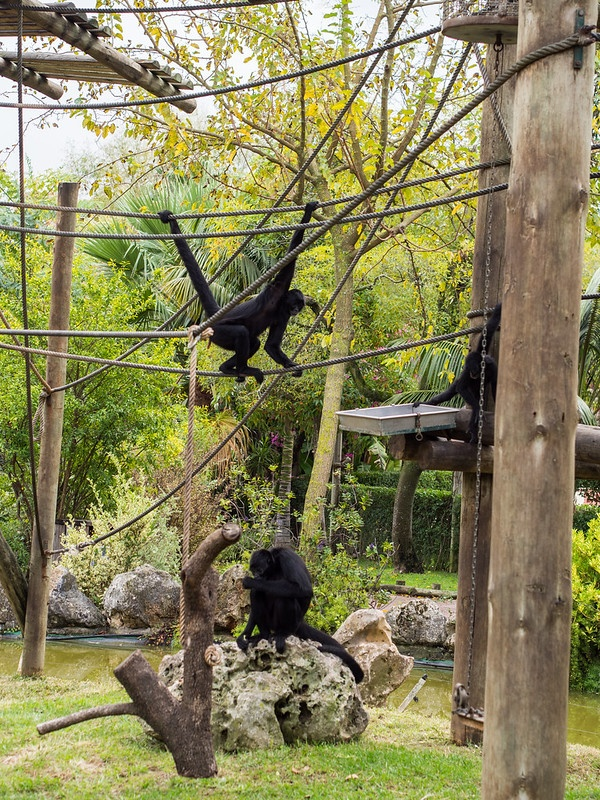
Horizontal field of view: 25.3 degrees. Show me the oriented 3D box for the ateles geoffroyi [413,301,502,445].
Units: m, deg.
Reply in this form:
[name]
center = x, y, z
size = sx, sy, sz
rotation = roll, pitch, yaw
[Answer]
[ateles geoffroyi]
center = 1.062, -0.141, 8.996
size = 0.637, 0.652, 0.211
rotation = -11, -10, 23
